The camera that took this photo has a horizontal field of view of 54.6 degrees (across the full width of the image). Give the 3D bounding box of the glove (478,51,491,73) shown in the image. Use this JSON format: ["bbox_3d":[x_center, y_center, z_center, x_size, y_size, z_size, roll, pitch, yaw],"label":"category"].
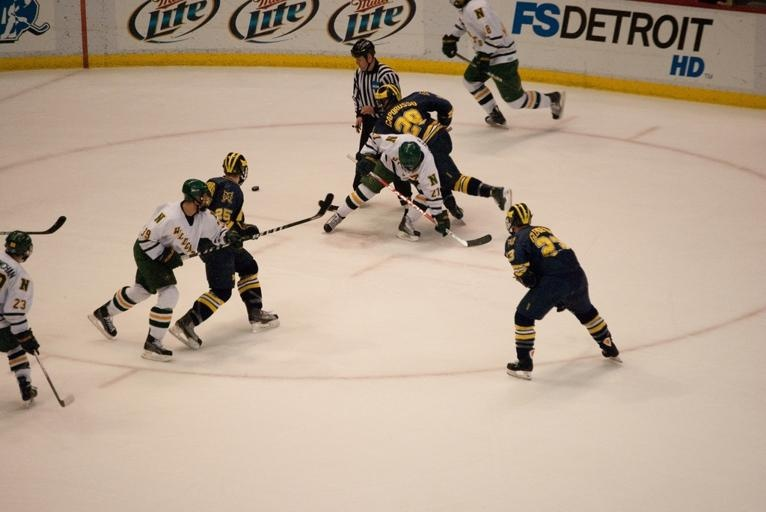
[{"bbox_3d":[1.356,-2.635,10.039,0.170,0.257,0.127,1,16,6],"label":"glove"}]

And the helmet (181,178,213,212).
[{"bbox_3d":[-1.668,-0.565,6.478,0.291,0.263,0.216,-7,30,-29],"label":"helmet"}]

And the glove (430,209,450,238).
[{"bbox_3d":[0.658,-0.361,8.124,0.158,0.305,0.242,7,17,28],"label":"glove"}]

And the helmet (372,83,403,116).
[{"bbox_3d":[0.019,-1.853,8.723,0.396,0.362,0.312,16,20,28],"label":"helmet"}]

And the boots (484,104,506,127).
[{"bbox_3d":[1.633,-2.024,10.541,0.383,0.293,0.176,26,64,41],"label":"boots"}]

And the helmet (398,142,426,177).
[{"bbox_3d":[0.304,-1.036,7.805,0.264,0.358,0.276,0,15,4],"label":"helmet"}]

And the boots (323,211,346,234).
[{"bbox_3d":[-0.572,-0.390,8.581,0.370,0.135,0.146,-42,5,0],"label":"boots"}]

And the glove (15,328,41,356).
[{"bbox_3d":[-2.989,0.730,6.327,0.148,0.243,0.086,-27,17,7],"label":"glove"}]

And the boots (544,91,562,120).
[{"bbox_3d":[2.396,-2.119,10.386,0.160,0.452,0.203,5,20,39],"label":"boots"}]

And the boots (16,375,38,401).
[{"bbox_3d":[-2.971,1.105,6.259,0.109,0.219,0.179,6,17,25],"label":"boots"}]

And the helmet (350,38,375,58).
[{"bbox_3d":[-0.233,-2.516,8.991,0.232,0.197,0.402,-1,15,2],"label":"helmet"}]

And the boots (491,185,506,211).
[{"bbox_3d":[1.278,-0.639,8.182,0.130,0.292,0.104,-8,53,5],"label":"boots"}]

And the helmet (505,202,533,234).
[{"bbox_3d":[1.223,-0.344,6.551,0.240,0.268,0.286,-7,17,-10],"label":"helmet"}]
